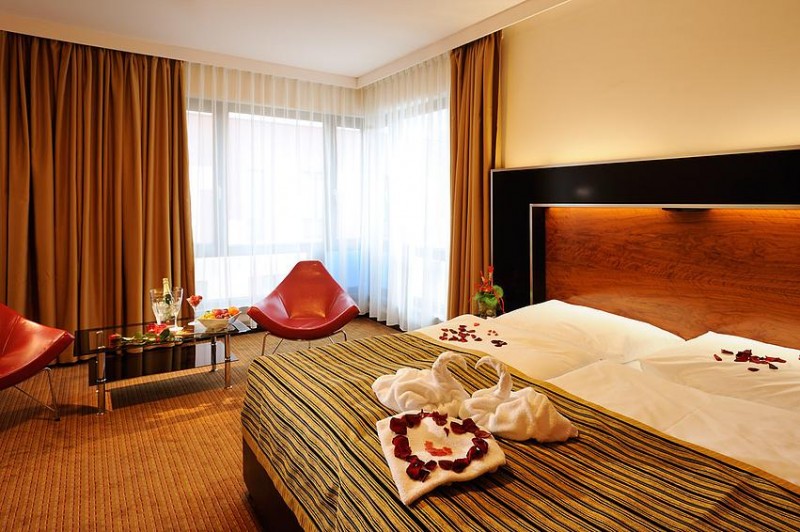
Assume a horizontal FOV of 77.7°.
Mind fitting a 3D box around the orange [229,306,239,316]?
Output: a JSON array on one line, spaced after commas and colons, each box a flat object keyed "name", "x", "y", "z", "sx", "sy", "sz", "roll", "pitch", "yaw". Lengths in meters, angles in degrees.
[{"name": "orange", "x": -1.528, "y": 0.420, "z": 4.561, "sx": 0.080, "sy": 0.058, "sz": 0.081, "roll": -6, "pitch": -3, "yaw": 12}]

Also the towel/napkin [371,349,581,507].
[{"name": "towel/napkin", "x": 0.333, "y": 0.863, "z": 2.613, "sx": 0.760, "sy": 0.255, "sz": 0.762, "roll": -10, "pitch": 15, "yaw": -25}]

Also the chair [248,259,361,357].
[{"name": "chair", "x": -0.929, "y": 0.533, "z": 5.132, "sx": 1.069, "sy": 1.016, "sz": 1.076, "roll": 1, "pitch": 11, "yaw": 2}]
